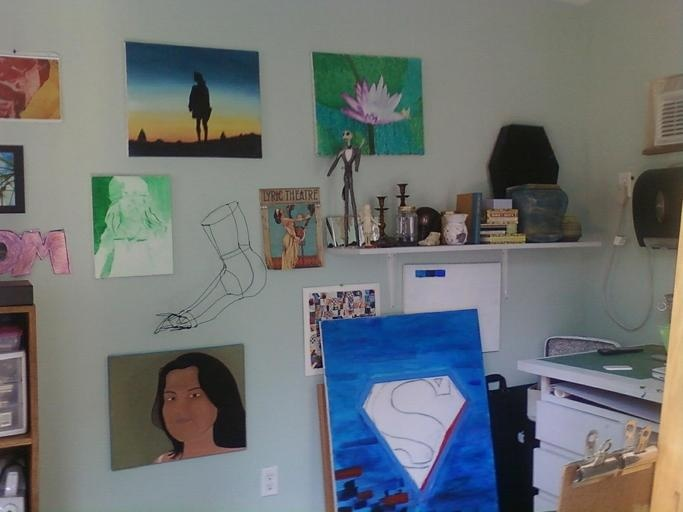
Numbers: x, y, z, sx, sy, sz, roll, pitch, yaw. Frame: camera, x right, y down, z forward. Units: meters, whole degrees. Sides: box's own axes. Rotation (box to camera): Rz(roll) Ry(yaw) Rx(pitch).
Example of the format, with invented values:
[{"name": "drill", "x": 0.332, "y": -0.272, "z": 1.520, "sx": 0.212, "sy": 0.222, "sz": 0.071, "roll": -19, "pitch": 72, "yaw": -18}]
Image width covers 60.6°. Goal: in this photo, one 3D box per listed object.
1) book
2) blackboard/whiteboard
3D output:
[{"name": "book", "x": 0.778, "y": -0.147, "z": 3.120, "sx": 0.333, "sy": 0.342, "sz": 0.255, "roll": 0, "pitch": -3, "yaw": -19}, {"name": "blackboard/whiteboard", "x": 0.558, "y": 0.269, "z": 3.092, "sx": 0.442, "sy": 0.413, "sz": 0.049, "roll": 1, "pitch": -6, "yaw": -18}]
